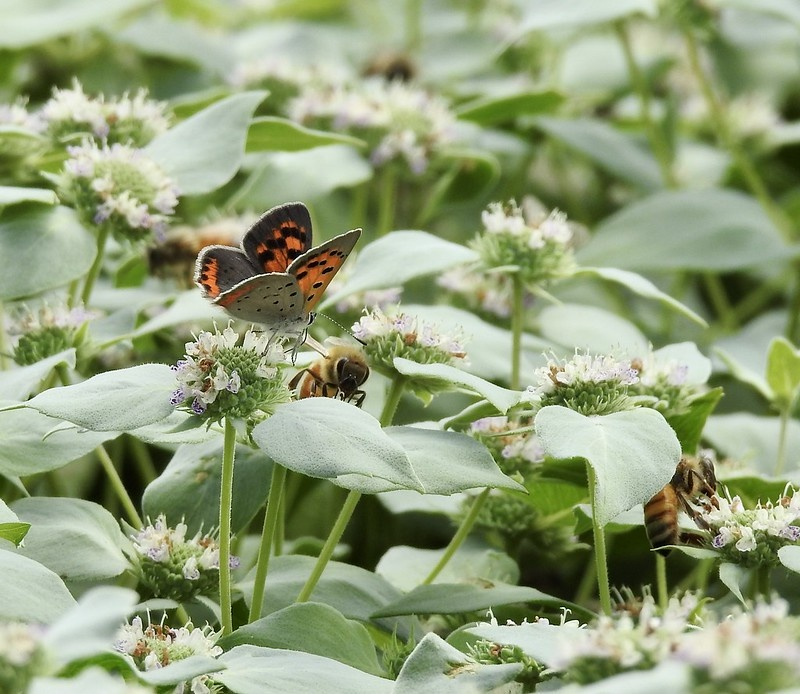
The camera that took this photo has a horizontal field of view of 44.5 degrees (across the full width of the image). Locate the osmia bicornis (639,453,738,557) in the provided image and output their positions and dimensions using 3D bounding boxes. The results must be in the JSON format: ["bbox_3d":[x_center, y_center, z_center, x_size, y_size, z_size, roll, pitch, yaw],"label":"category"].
[{"bbox_3d":[0.416,0.224,1.438,0.122,0.081,0.178,-17,10,16],"label":"osmia bicornis"}]

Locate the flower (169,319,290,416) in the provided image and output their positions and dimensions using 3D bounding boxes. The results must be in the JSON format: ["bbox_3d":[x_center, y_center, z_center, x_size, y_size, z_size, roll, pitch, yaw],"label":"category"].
[{"bbox_3d":[-0.220,0.032,1.277,0.112,0.130,0.116,7,12,27],"label":"flower"}]

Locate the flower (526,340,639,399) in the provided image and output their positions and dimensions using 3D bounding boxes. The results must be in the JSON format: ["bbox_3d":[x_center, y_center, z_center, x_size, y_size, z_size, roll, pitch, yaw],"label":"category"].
[{"bbox_3d":[0.250,0.024,1.431,0.103,0.045,0.108,-6,-18,-22],"label":"flower"}]

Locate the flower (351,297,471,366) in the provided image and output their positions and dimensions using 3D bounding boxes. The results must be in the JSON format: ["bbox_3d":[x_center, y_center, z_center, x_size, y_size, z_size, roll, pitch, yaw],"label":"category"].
[{"bbox_3d":[0.010,-0.003,1.444,0.169,0.077,0.056,8,32,4],"label":"flower"}]

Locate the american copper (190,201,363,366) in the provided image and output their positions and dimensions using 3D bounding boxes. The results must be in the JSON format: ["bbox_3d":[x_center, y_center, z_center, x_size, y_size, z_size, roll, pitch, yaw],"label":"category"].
[{"bbox_3d":[-0.183,-0.105,1.422,0.248,0.254,0.191,-4,8,-13],"label":"american copper"}]
